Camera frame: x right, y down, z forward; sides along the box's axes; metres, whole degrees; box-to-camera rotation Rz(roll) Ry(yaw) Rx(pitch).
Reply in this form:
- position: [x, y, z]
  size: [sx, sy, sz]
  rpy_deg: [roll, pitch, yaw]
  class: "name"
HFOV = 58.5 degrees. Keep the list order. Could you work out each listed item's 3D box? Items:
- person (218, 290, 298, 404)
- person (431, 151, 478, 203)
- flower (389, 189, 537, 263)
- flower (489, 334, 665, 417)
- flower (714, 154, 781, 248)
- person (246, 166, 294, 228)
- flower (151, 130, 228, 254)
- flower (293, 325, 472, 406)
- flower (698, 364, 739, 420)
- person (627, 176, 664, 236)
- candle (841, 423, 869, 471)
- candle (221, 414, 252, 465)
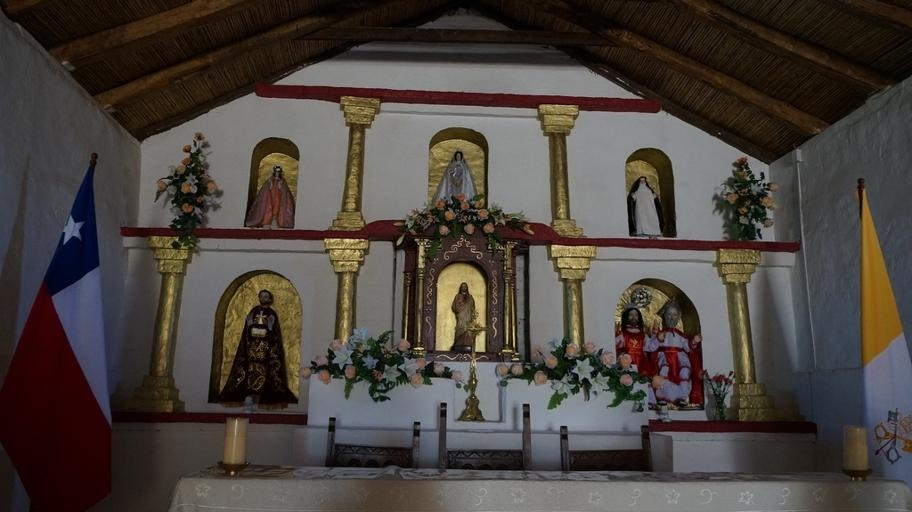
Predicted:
- position: [-2.944, 1.383, 12.301]
  size: [1.061, 1.718, 0.325]
  rpy_deg: [5, -13, -19]
  class: "person"
- position: [-0.074, -1.219, 12.735]
  size: [0.809, 0.984, 0.261]
  rpy_deg: [3, -15, 0]
  class: "person"
- position: [0.041, -0.387, 11.318]
  size: [1.849, 0.937, 0.650]
  rpy_deg: [-1, -13, 8]
  class: "flower"
- position: [1.389, 1.308, 9.401]
  size: [1.411, 0.529, 0.932]
  rpy_deg: [-1, 18, 6]
  class: "flower"
- position: [4.617, -1.007, 12.655]
  size: [0.731, 0.981, 0.697]
  rpy_deg: [-18, 16, -29]
  class: "flower"
- position: [-2.942, -0.891, 12.733]
  size: [0.773, 1.032, 0.267]
  rpy_deg: [9, -20, -22]
  class: "person"
- position: [-4.024, -0.987, 12.290]
  size: [0.957, 1.823, 0.640]
  rpy_deg: [5, -13, -18]
  class: "flower"
- position: [-0.940, 1.248, 9.247]
  size: [0.971, 0.681, 1.379]
  rpy_deg: [-1, -5, 44]
  class: "flower"
- position: [3.942, 2.096, 12.207]
  size: [0.429, 0.616, 0.429]
  rpy_deg: [5, -12, 29]
  class: "flower"
- position: [2.952, -0.768, 12.846]
  size: [0.469, 0.996, 0.276]
  rpy_deg: [-4, -14, 23]
  class: "person"
- position: [3.973, 1.890, 8.055]
  size: [0.348, 0.428, 0.186]
  rpy_deg: [6, -14, -23]
  class: "candle"
- position: [-2.157, 1.801, 7.957]
  size: [0.202, 0.448, 0.225]
  rpy_deg: [5, -13, -18]
  class: "candle"
